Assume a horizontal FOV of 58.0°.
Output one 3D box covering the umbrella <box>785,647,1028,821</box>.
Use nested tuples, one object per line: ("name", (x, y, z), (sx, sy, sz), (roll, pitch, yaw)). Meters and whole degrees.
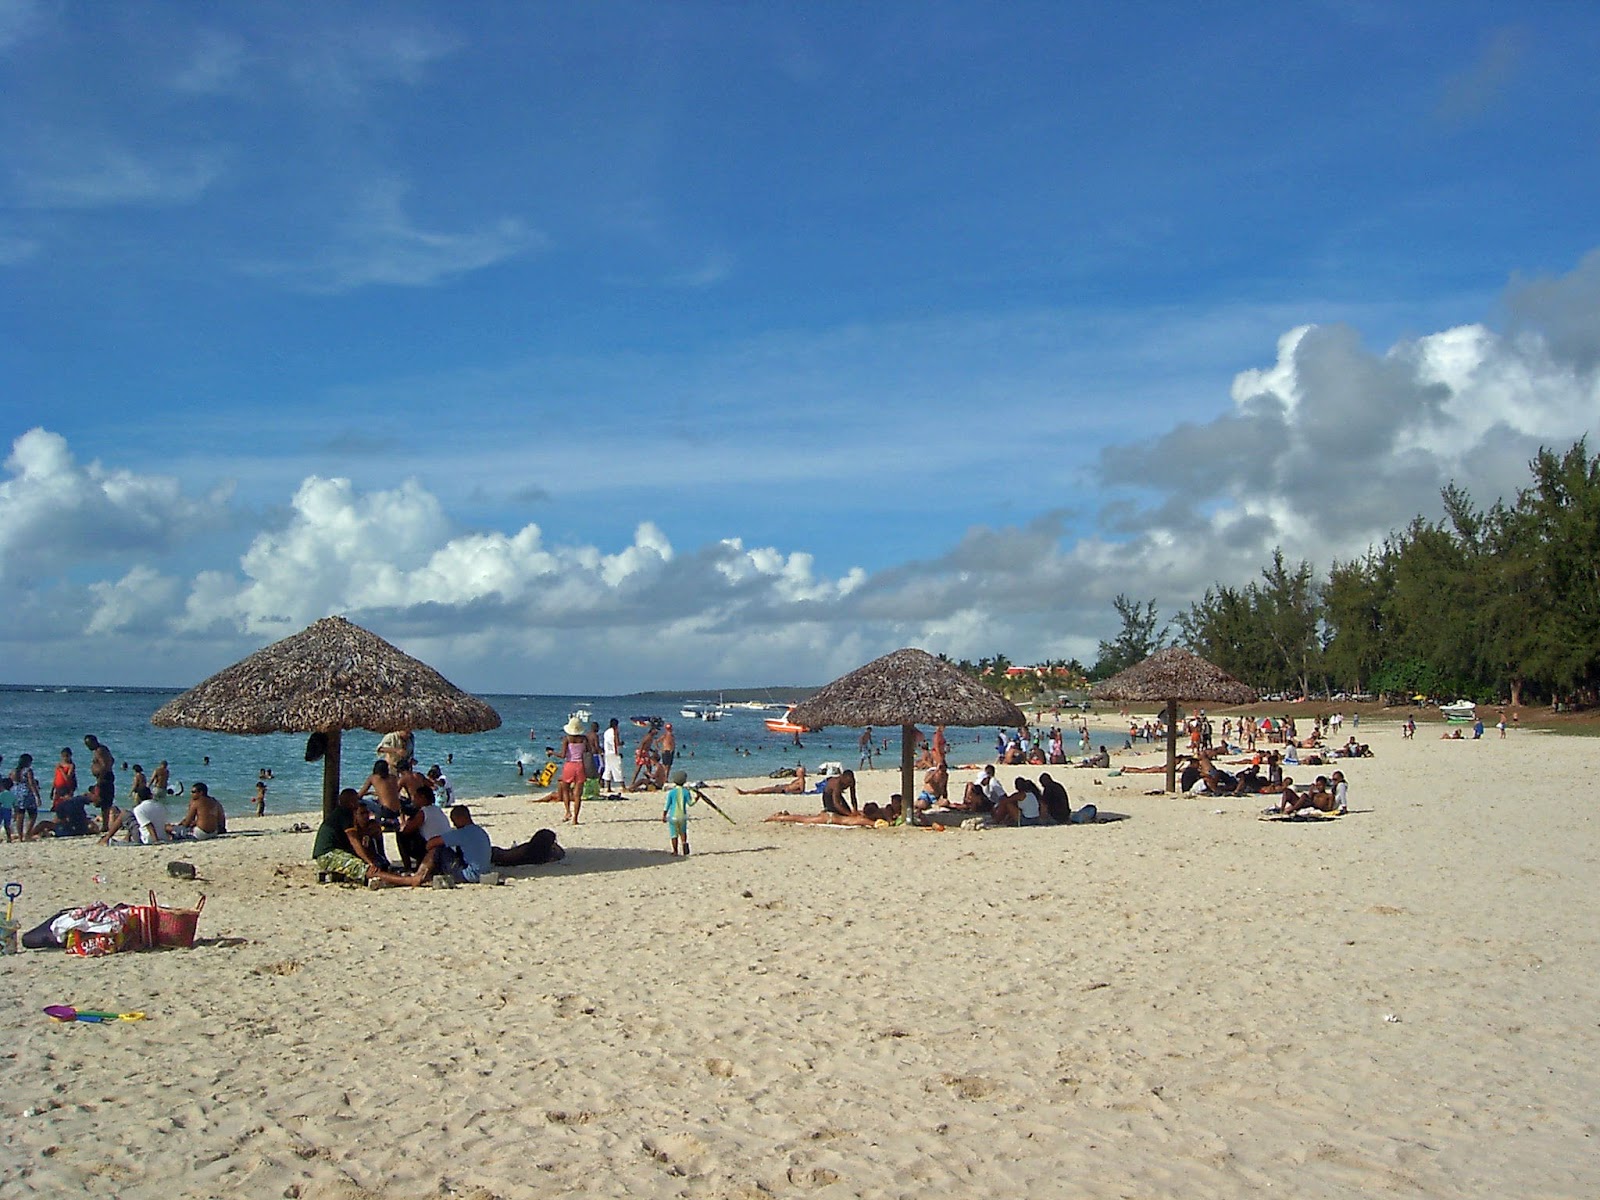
("umbrella", (1.702, 2.128, 22.927), (3.277, 2.870, 1.712), (0, 10, 1))

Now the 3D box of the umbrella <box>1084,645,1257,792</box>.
("umbrella", (7.635, 2.302, 29.496), (3.160, 3.293, 3.259), (3, 4, 41))
